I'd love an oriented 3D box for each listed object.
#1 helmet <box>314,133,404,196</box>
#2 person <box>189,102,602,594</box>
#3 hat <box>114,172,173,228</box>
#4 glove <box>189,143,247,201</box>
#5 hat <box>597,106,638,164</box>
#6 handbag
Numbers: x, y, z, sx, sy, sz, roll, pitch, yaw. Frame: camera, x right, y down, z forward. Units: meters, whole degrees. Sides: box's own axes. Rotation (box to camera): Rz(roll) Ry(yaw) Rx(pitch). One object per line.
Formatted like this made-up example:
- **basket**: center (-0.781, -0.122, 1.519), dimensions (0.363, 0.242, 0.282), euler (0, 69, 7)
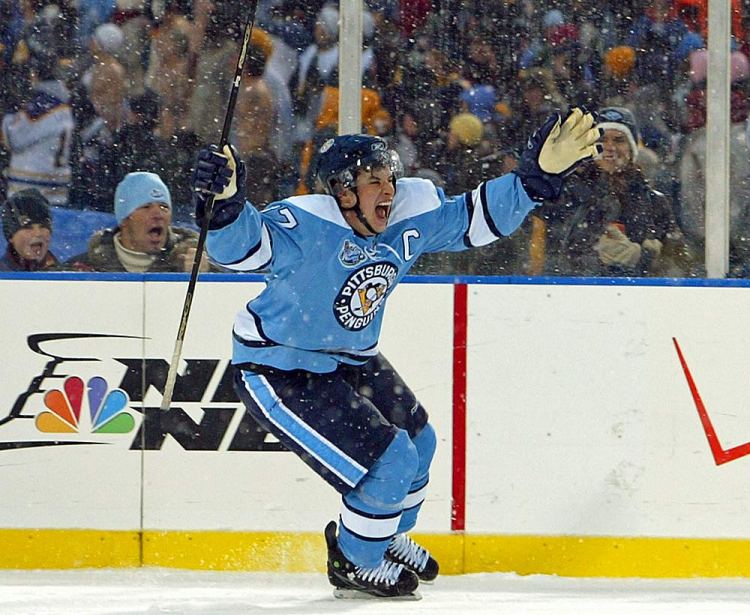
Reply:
- **helmet**: center (-0.073, -0.575, 5.305), dimensions (0.293, 0.281, 0.227), euler (-20, 0, 17)
- **person**: center (0.002, 0.211, 5.277), dimensions (1.397, 1.947, 0.432), euler (-1, 8, -9)
- **hat**: center (-1.055, -0.520, 5.931), dimensions (0.188, 0.229, 0.257), euler (-20, 35, -41)
- **glove**: center (-0.570, -0.508, 4.914), dimensions (0.209, 0.203, 0.092), euler (-4, 9, -24)
- **hat**: center (1.070, -0.779, 5.888), dimensions (0.157, 0.213, 0.093), euler (13, 42, 35)
- **handbag**: center (0.747, -0.616, 5.286), dimensions (0.268, 0.400, 0.123), euler (50, 17, 13)
